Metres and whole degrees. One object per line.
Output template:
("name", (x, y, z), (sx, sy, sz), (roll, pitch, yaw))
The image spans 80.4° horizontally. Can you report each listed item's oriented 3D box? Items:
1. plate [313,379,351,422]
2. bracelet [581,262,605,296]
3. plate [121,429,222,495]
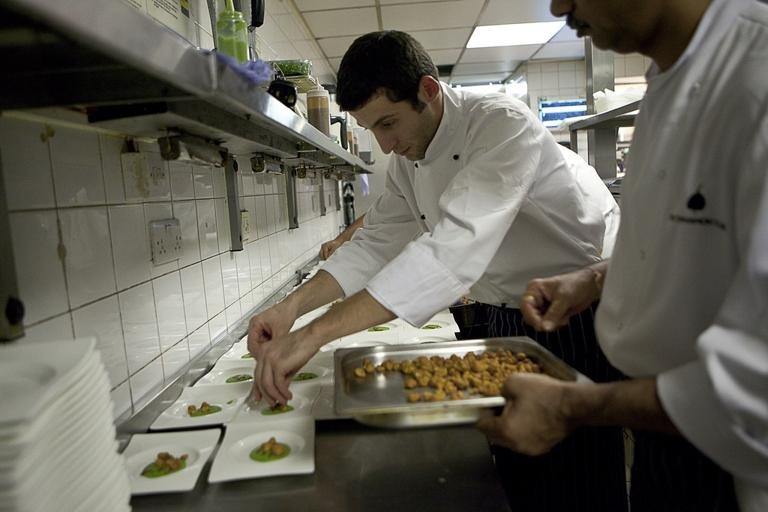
("plate", (-0.179, 0.488, 1.513), (0.105, 0.031, 0.159), (1, 19, 0))
("bracelet", (0.693, 0.078, 1.486), (0.082, 0.090, 0.065), (27, -11, -22))
("plate", (-0.629, 0.569, 1.270), (0.265, 0.036, 0.247), (1, 12, -2))
